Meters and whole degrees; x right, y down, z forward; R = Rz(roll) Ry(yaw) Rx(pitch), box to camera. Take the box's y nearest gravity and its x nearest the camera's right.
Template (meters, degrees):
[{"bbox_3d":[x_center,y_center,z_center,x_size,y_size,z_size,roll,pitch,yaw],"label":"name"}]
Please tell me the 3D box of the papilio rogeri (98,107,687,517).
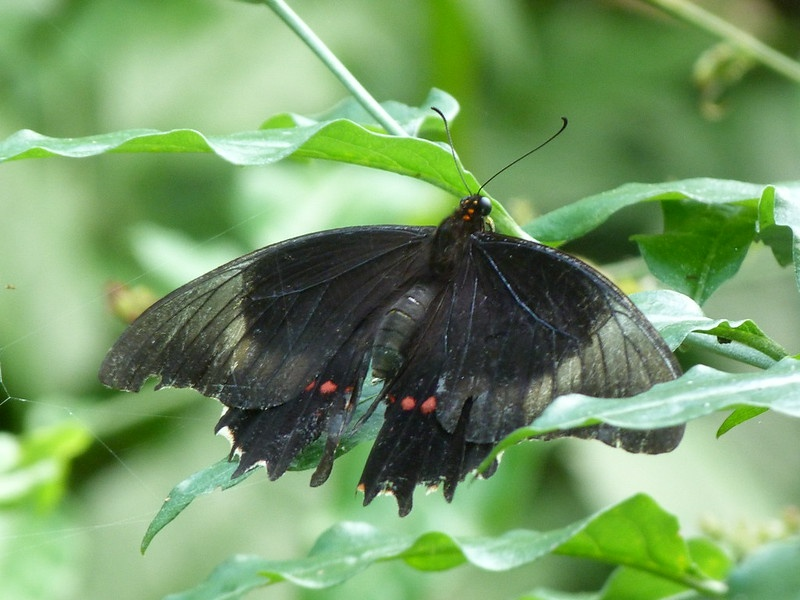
[{"bbox_3d":[0.000,0.055,1.639,1.111,0.727,0.358,20,-16,6],"label":"papilio rogeri"}]
